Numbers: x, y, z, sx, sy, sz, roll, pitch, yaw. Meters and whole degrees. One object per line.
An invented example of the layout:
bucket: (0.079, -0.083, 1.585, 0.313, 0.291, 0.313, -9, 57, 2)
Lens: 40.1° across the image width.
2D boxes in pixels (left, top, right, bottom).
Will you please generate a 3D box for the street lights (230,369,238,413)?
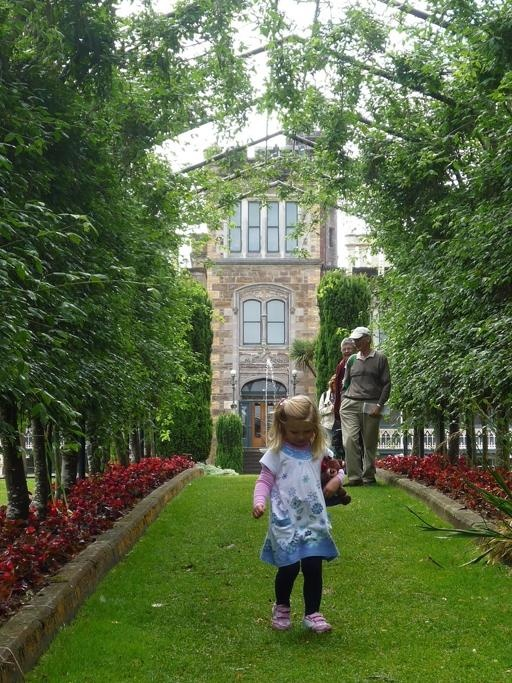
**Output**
street lights: (-0.949, 2.099, 29.629, 0.338, 1.746, 0.752, 1, -4, -2)

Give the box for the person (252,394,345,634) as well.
person: (0.204, 0.837, 3.391, 0.458, 1.128, 0.427, 1, -4, -4)

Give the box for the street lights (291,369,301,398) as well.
street lights: (1.623, 1.703, 29.261, 0.374, 1.094, 0.851, 1, -4, 3)

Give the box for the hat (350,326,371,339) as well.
hat: (1.168, -0.085, 7.828, 0.191, 0.105, 0.128, 4, -10, -30)

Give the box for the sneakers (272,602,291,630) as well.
sneakers: (0.122, 1.343, 3.400, 0.069, 0.109, 0.169, 7, -24, -17)

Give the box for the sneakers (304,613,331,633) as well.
sneakers: (0.288, 1.323, 3.266, 0.061, 0.057, 0.126, 3, -1, -9)

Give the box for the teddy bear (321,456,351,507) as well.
teddy bear: (0.387, 0.701, 3.534, 0.108, 0.231, 0.174, -10, -18, -34)
